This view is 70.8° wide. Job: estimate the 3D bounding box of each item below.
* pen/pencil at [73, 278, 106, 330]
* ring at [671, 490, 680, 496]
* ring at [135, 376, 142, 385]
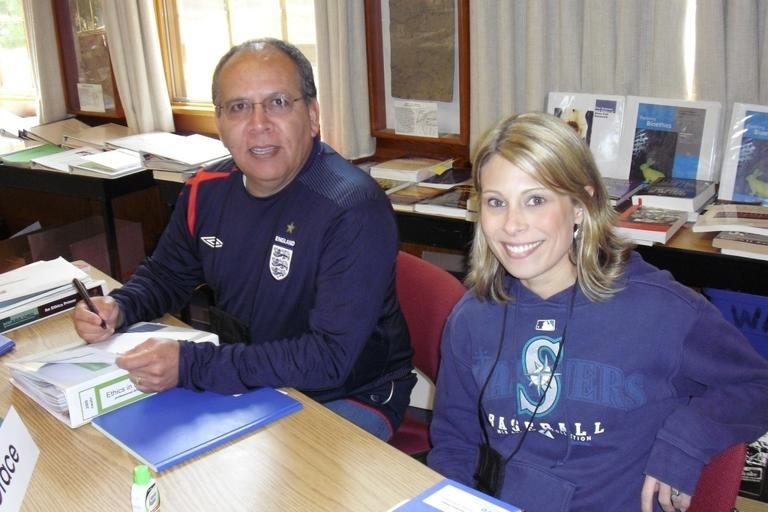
[{"bbox_3d":[-0.931,0.152,1.672,0.020,0.183,0.021,-40,-24,16],"label":"pen/pencil"},{"bbox_3d":[0.663,0.532,1.214,0.004,0.015,0.016,-3,-14,-40],"label":"ring"},{"bbox_3d":[-0.630,0.314,1.362,0.016,0.020,0.010,-3,22,2],"label":"ring"}]
